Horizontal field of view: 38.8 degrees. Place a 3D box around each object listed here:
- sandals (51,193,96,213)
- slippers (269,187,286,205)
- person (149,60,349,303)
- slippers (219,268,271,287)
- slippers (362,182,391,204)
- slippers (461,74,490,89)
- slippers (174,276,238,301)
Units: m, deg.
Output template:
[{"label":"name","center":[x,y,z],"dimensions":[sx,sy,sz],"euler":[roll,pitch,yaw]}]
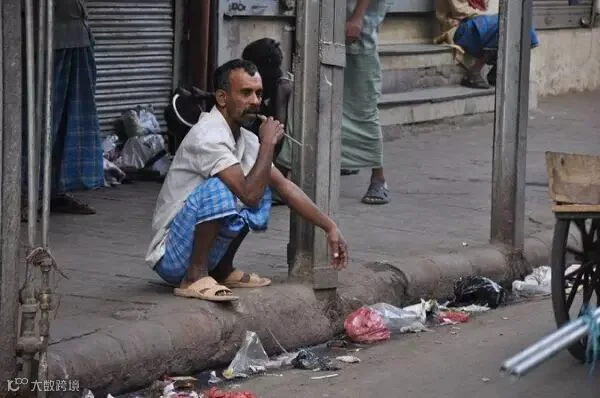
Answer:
[{"label":"sandals","center":[-1.988,0.034,7.400],"dimensions":[0.449,0.158,0.162],"euler":[4,10,11]},{"label":"slippers","center":[-0.155,-0.023,6.030],"dimensions":[0.052,0.108,0.153],"euler":[-48,20,-9]},{"label":"person","center":[-0.398,-0.122,5.248],"dimensions":[1.122,1.441,0.557],"euler":[-3,10,-11]},{"label":"slippers","center":[-0.348,0.496,5.496],"dimensions":[0.313,0.091,0.119],"euler":[0,7,-18]},{"label":"slippers","center":[0.737,-0.047,8.095],"dimensions":[0.221,0.160,0.544],"euler":[0,0,10]},{"label":"slippers","center":[2.801,-1.844,13.387],"dimensions":[0.458,0.189,0.193],"euler":[12,20,39]},{"label":"slippers","center":[-0.558,0.528,5.138],"dimensions":[0.301,0.098,0.155],"euler":[0,-2,27]}]
